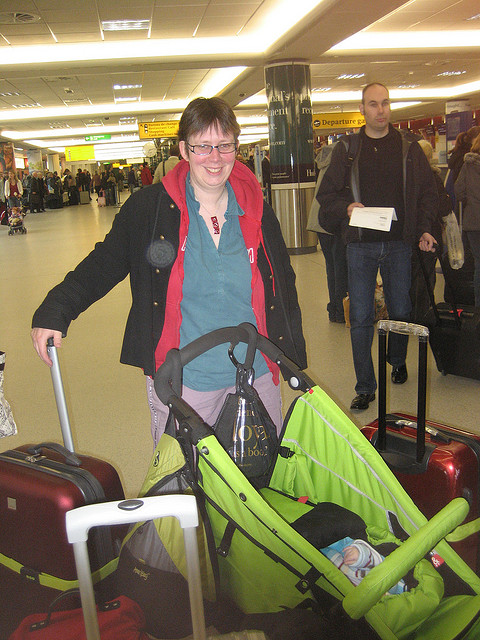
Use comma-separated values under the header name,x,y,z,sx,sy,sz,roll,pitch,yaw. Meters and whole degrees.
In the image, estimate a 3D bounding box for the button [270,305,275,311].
name,x,y,z,sx,sy,sz,roll,pitch,yaw
button,0.090,-0.033,1.305,0.011,0.015,0.004,1,-4,5

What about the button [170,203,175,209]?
name,x,y,z,sx,sy,sz,roll,pitch,yaw
button,-0.176,-0.294,1.207,0.013,0.014,0.003,2,4,4

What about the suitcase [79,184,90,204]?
name,x,y,z,sx,sy,sz,roll,pitch,yaw
suitcase,-9.601,-7.612,28.542,0.381,1.014,1.294,-6,14,-8

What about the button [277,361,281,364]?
name,x,y,z,sx,sy,sz,roll,pitch,yaw
button,0.086,0.094,1.030,0.007,0.008,0.002,0,9,17

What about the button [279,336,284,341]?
name,x,y,z,sx,sy,sz,roll,pitch,yaw
button,0.118,0.054,1.321,0.016,0.009,0.005,-39,-2,-25

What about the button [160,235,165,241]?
name,x,y,z,sx,sy,sz,roll,pitch,yaw
button,-0.201,-0.210,1.195,0.011,0.012,0.003,3,7,34

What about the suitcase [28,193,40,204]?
name,x,y,z,sx,sy,sz,roll,pitch,yaw
suitcase,-10.030,-5.906,22.521,0.509,0.434,0.516,-11,16,-24

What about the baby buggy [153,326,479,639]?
name,x,y,z,sx,sy,sz,roll,pitch,yaw
baby buggy,0.184,0.378,1.094,0.389,0.465,0.598,-29,42,-36

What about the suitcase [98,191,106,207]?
name,x,y,z,sx,sy,sz,roll,pitch,yaw
suitcase,-7.228,-6.303,24.283,0.657,0.733,0.382,-2,5,-13

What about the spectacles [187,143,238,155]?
name,x,y,z,sx,sy,sz,roll,pitch,yaw
spectacles,-0.063,-0.421,1.149,0.116,0.028,0.042,-6,14,-4

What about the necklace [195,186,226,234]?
name,x,y,z,sx,sy,sz,roll,pitch,yaw
necklace,-0.071,-0.293,1.265,0.086,0.115,0.072,-7,14,-10

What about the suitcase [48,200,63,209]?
name,x,y,z,sx,sy,sz,roll,pitch,yaw
suitcase,-10.018,-6.210,25.081,0.701,0.473,0.663,-8,15,-12

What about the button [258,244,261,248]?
name,x,y,z,sx,sy,sz,roll,pitch,yaw
button,0.054,-0.204,1.288,0.003,0.008,0.013,5,17,34

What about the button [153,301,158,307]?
name,x,y,z,sx,sy,sz,roll,pitch,yaw
button,-0.222,-0.040,1.217,0.004,0.013,0.019,-15,18,-38

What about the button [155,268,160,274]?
name,x,y,z,sx,sy,sz,roll,pitch,yaw
button,-0.214,-0.125,1.201,0.009,0.010,0.005,1,8,32

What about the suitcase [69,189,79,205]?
name,x,y,z,sx,sy,sz,roll,pitch,yaw
suitcase,-9.777,-7.225,27.231,0.623,1.151,0.349,0,8,-8

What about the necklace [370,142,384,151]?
name,x,y,z,sx,sy,sz,roll,pitch,yaw
necklace,0.761,-0.950,2.564,0.056,0.017,0.022,-39,-14,6

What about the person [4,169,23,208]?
name,x,y,z,sx,sy,sz,roll,pitch,yaw
person,-7.074,-4.045,14.459,0.499,1.104,1.054,-11,15,-25

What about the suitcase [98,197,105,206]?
name,x,y,z,sx,sy,sz,roll,pitch,yaw
suitcase,-7.258,-6.198,24.371,0.337,0.342,0.605,-4,0,4

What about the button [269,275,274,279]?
name,x,y,z,sx,sy,sz,roll,pitch,yaw
button,0.087,-0.120,1.296,0.013,0.003,0.003,-7,40,46
